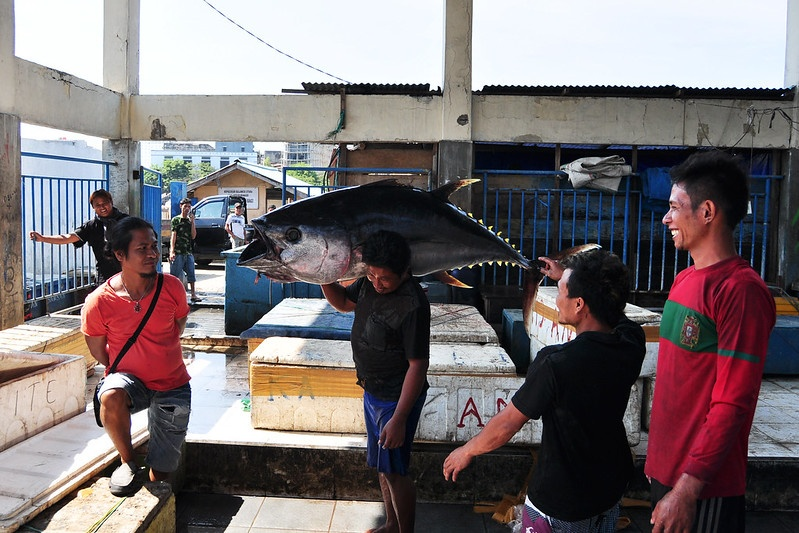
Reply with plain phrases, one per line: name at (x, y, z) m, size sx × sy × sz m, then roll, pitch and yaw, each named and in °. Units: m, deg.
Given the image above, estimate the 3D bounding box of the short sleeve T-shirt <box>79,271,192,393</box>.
short sleeve T-shirt at (-2.242, 0.585, 6.160) m, size 1.110 × 1.136 × 0.609 m, roll -5°, pitch 7°, yaw -36°

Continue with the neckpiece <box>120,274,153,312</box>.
neckpiece at (-2.154, 0.215, 5.940) m, size 0.224 × 0.240 × 0.087 m, roll -1°, pitch -20°, yaw -13°

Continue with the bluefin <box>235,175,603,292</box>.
bluefin at (0.151, -0.262, 5.498) m, size 2.358 × 0.967 × 0.574 m, roll 4°, pitch 26°, yaw -13°

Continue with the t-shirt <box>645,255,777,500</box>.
t-shirt at (2.085, 0.737, 4.942) m, size 0.729 × 1.559 × 0.604 m, roll 5°, pitch 10°, yaw 32°
